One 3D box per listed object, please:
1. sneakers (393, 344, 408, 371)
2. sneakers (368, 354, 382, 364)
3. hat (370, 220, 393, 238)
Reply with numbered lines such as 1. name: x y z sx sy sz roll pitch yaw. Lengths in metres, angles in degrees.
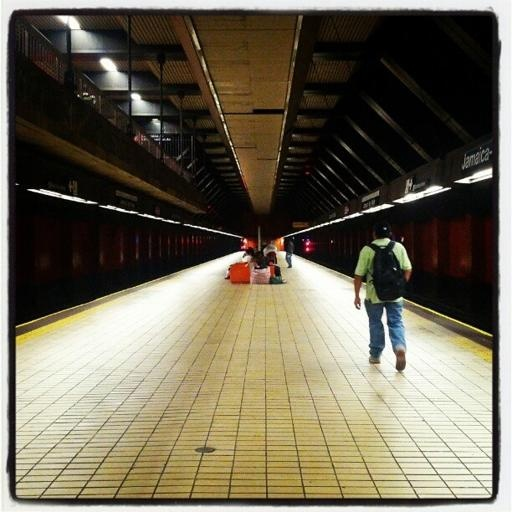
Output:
1. sneakers: 1.689 1.195 4.845 0.096 0.351 0.133 -1 -3 12
2. sneakers: 1.528 1.315 5.326 0.075 0.127 0.170 2 5 6
3. hat: 1.540 -0.328 5.125 0.172 0.252 0.235 2 20 5
